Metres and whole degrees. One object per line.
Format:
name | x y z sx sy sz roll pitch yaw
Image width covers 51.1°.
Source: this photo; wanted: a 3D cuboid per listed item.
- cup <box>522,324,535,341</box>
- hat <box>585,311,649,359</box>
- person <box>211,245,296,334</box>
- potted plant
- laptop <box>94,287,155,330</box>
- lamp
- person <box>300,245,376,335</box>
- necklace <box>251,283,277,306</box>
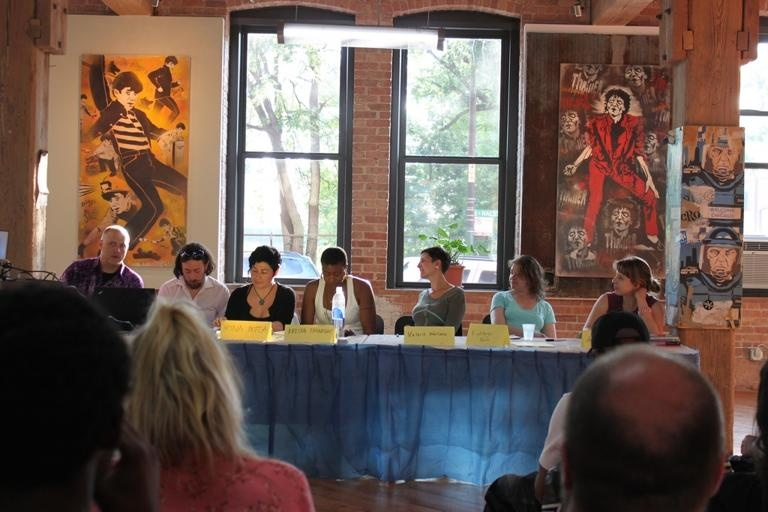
cup | 0.977 0.519 5.459 0.098 0.111 0.100 1 -8 0
hat | 1.191 0.382 4.062 0.346 0.279 0.570 2 -6 6
person | -0.889 0.278 5.701 0.500 0.723 0.664 2 0 0
potted plant | 0.644 -0.018 7.300 0.576 0.519 0.581 -3 0 -11
laptop | -1.421 0.293 4.414 0.307 0.215 0.228 1 0 -2
lamp | -0.188 -1.836 6.666 1.357 0.189 0.207 1 2 -2
person | -0.349 0.363 5.798 0.537 0.775 0.548 -2 8 -10
necklace | -0.864 0.282 5.753 0.162 0.196 0.022 -1 -28 -3
